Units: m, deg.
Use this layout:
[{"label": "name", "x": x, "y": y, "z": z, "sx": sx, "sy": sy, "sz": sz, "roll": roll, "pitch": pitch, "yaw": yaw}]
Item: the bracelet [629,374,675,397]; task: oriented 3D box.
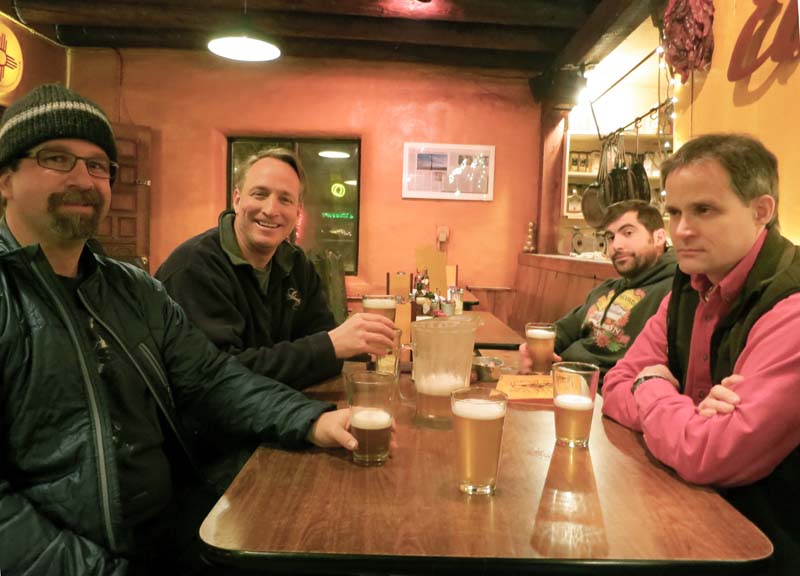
[{"label": "bracelet", "x": 0.802, "y": 0.304, "z": 1.968, "sx": 0.093, "sy": 0.068, "sz": 0.036, "roll": 6, "pitch": 32, "yaw": 10}]

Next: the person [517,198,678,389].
[{"label": "person", "x": 1.176, "y": 0.090, "z": 3.503, "sx": 0.853, "sy": 1.087, "sz": 0.801, "roll": 5, "pitch": 3, "yaw": -36}]

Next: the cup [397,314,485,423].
[{"label": "cup", "x": 0.115, "y": 0.250, "z": 1.900, "sx": 0.315, "sy": 0.333, "sz": 0.229, "roll": -2, "pitch": 4, "yaw": -4}]
